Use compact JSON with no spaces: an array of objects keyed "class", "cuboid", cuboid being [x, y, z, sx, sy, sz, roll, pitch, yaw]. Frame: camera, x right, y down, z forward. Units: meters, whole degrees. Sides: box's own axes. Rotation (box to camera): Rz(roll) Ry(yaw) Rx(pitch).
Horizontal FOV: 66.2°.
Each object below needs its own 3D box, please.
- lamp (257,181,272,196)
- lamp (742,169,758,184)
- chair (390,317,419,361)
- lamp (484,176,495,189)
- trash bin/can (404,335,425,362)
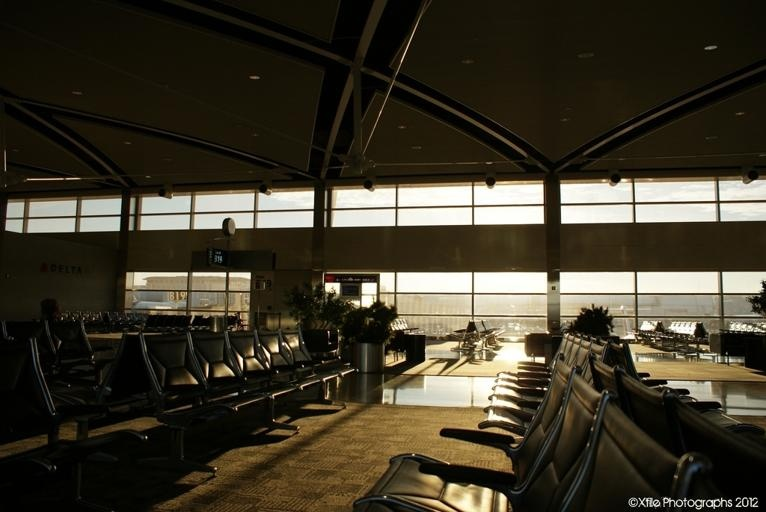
[{"class":"lamp","cuboid":[-3.686,-2.135,18.417,0.388,0.370,0.589,25,7,-16]},{"class":"lamp","cuboid":[9.713,-2.135,15.607,0.310,0.348,0.505,2,2,28]},{"class":"chair","cuboid":[0.543,2.269,15.650,0.736,1.320,1.417,-3,-8,9]},{"class":"lamp","cuboid":[3.148,-2.179,17.320,0.329,0.230,0.315,-4,5,-11]},{"class":"trash bin/can","cuboid":[0.835,2.374,15.085,0.540,0.676,0.878,1,2,3]}]
